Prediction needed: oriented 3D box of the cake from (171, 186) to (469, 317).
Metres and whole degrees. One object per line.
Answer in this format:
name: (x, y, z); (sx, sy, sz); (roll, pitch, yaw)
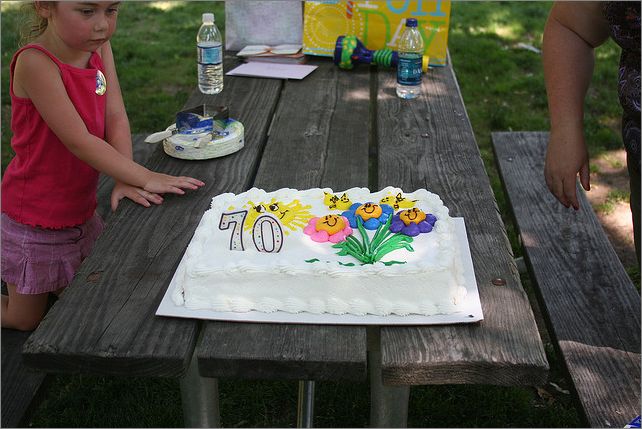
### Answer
cake: (0.011, 0.110, 1.715); (0.942, 0.216, 0.575); (1, 30, 8)

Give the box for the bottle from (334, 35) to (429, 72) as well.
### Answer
bottle: (0.315, -0.919, 2.986); (0.557, 0.223, 0.225); (8, 20, -1)

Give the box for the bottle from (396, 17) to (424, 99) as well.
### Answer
bottle: (0.453, -0.800, 2.628); (0.141, 0.382, 0.129); (0, 22, 0)
